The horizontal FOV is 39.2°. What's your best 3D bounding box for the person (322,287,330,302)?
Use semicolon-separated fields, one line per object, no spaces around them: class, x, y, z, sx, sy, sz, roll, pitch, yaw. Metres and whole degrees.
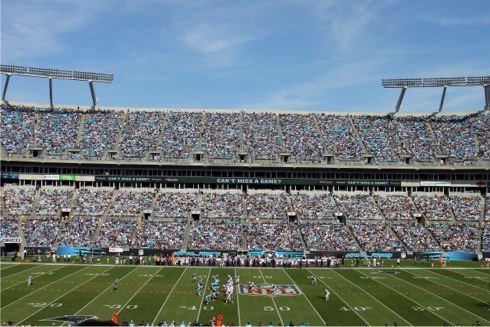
person;11.923;19.083;100.082;0.819;0.561;1.630;-15;-28;-6
